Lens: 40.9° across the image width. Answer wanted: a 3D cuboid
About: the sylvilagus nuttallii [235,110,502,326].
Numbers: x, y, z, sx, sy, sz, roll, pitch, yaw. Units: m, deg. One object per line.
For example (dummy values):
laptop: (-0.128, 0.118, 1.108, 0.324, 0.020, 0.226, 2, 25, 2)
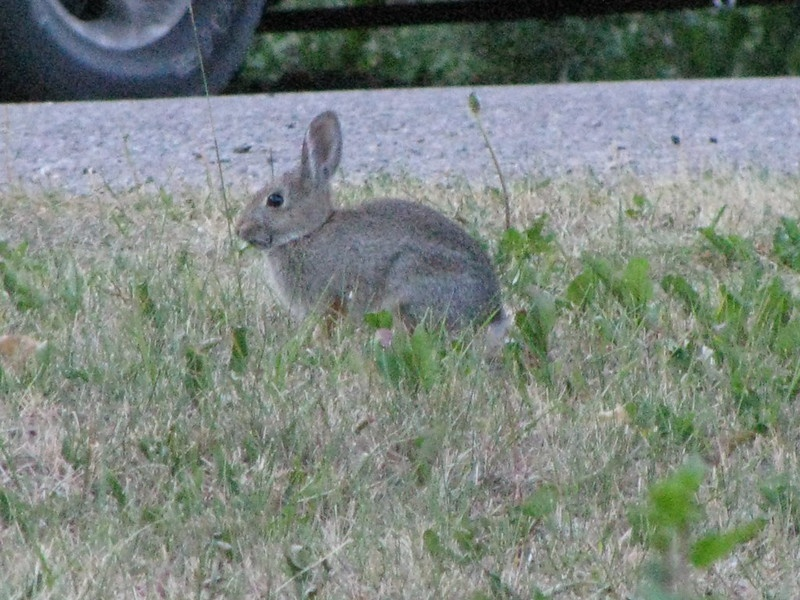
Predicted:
sylvilagus nuttallii: (-0.114, -0.156, 3.850, 1.083, 0.359, 0.555, 38, 64, 14)
